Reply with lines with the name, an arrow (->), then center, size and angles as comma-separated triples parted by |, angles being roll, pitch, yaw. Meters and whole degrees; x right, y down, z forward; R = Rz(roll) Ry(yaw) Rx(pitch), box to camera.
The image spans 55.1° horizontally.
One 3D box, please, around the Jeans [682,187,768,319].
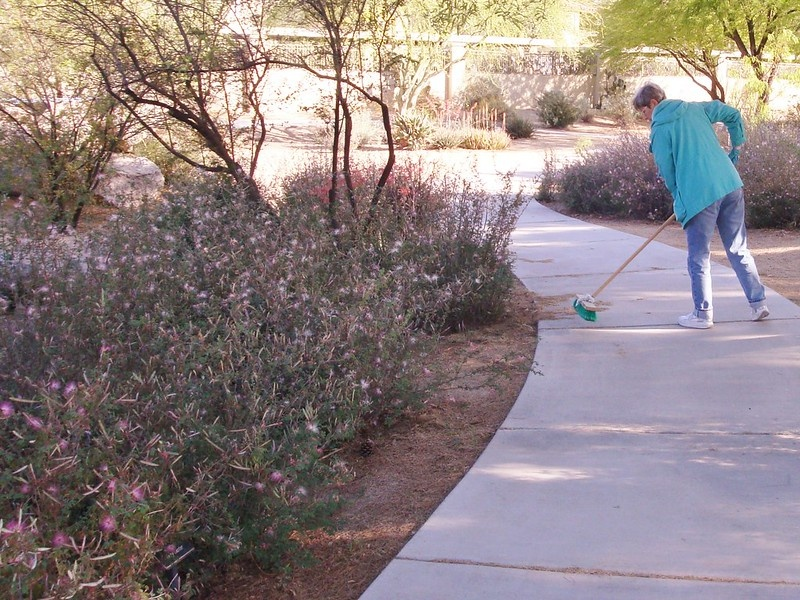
Jeans -> 2.665, -0.378, 6.271 | 0.602, 1.011, 0.813 | -1, 9, 19
